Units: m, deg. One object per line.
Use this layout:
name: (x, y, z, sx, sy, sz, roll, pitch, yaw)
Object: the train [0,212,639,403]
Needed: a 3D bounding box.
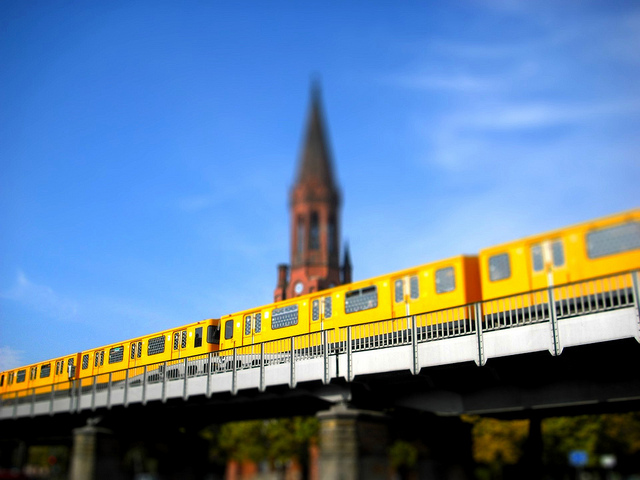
train: (-9.455, 6.762, 36.911, 52.681, 4.879, 9.375, -17, -24, 33)
